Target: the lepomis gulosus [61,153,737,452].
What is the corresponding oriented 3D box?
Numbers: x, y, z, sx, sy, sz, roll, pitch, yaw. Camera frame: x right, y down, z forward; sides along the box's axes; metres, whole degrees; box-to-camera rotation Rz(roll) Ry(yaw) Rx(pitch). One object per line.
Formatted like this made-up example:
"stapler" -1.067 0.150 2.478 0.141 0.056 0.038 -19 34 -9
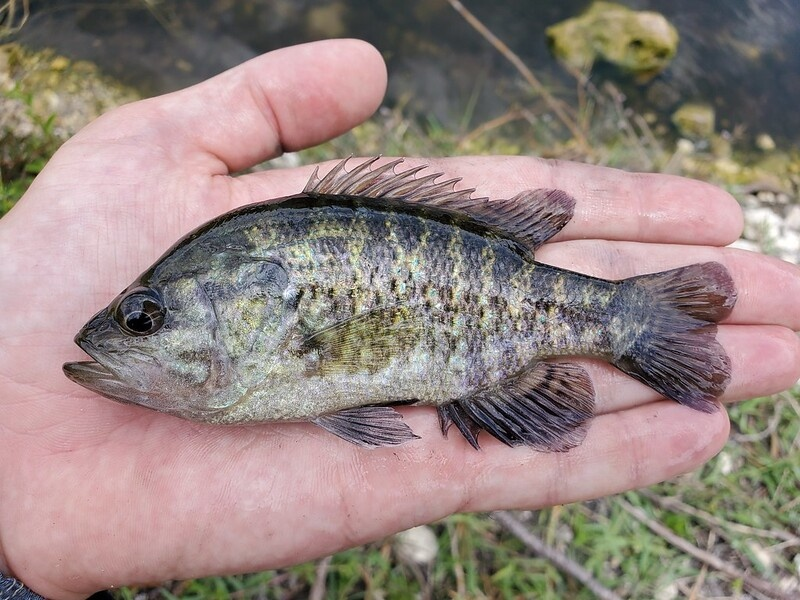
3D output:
"lepomis gulosus" 0.024 0.114 5.027 4.044 0.656 1.685 2 78 -6
